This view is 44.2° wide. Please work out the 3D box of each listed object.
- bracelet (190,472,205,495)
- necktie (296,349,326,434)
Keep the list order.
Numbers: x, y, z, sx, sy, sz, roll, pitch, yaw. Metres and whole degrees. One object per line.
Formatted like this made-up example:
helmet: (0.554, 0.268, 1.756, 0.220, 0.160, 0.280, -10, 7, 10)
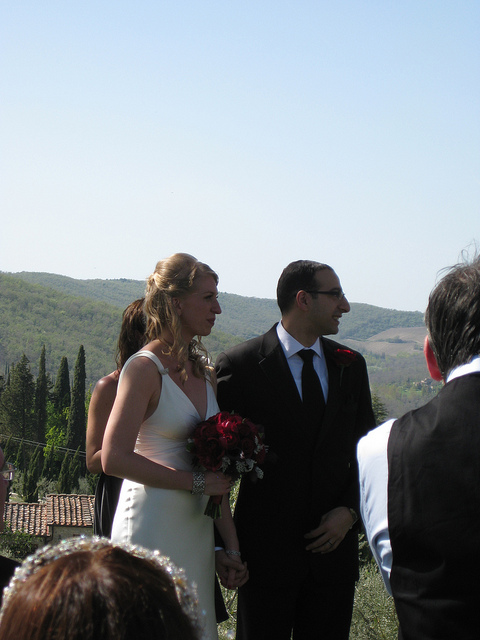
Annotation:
bracelet: (-0.187, 0.737, 2.687, 0.032, 0.090, 0.078, 1, -2, 8)
necktie: (0.363, 0.372, 3.282, 0.143, 0.397, 0.190, -2, 4, -17)
